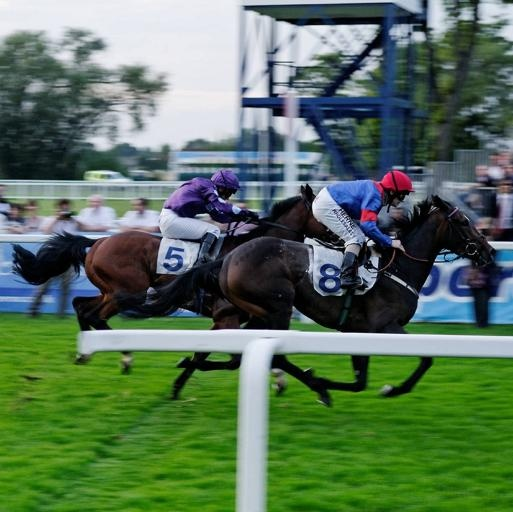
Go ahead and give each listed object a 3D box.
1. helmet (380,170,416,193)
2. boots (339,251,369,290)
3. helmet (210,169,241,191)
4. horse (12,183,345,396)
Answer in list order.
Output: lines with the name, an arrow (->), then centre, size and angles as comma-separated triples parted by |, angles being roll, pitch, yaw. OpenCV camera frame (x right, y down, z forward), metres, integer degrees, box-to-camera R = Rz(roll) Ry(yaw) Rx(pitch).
helmet -> 0.876, -0.457, 6.162 | 0.229, 0.097, 0.126 | 1, 23, 2
boots -> 0.581, 0.093, 5.861 | 0.153, 0.223, 0.103 | 3, 11, 4
helmet -> -0.183, -0.516, 6.873 | 0.182, 0.157, 0.225 | 6, 10, 25
horse -> -0.551, 0.065, 7.071 | 2.670, 1.170, 0.441 | 1, 16, 17
